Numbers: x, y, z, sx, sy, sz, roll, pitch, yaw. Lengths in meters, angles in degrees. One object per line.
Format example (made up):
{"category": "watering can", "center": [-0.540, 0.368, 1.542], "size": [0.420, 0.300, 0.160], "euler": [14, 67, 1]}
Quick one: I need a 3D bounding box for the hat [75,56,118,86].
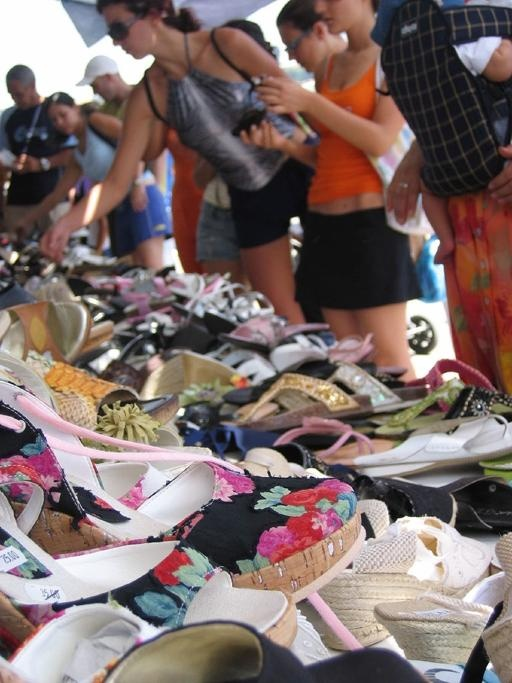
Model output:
{"category": "hat", "center": [-0.661, -1.142, 2.418], "size": [0.147, 0.073, 0.098], "euler": [-9, 24, 9]}

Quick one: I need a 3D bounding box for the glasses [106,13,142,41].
{"category": "glasses", "center": [-0.524, -1.244, 2.280], "size": [0.112, 0.032, 0.092], "euler": [-35, 32, -26]}

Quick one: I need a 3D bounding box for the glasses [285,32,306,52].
{"category": "glasses", "center": [0.139, -1.053, 2.017], "size": [0.059, 0.015, 0.043], "euler": [-38, 4, 1]}
